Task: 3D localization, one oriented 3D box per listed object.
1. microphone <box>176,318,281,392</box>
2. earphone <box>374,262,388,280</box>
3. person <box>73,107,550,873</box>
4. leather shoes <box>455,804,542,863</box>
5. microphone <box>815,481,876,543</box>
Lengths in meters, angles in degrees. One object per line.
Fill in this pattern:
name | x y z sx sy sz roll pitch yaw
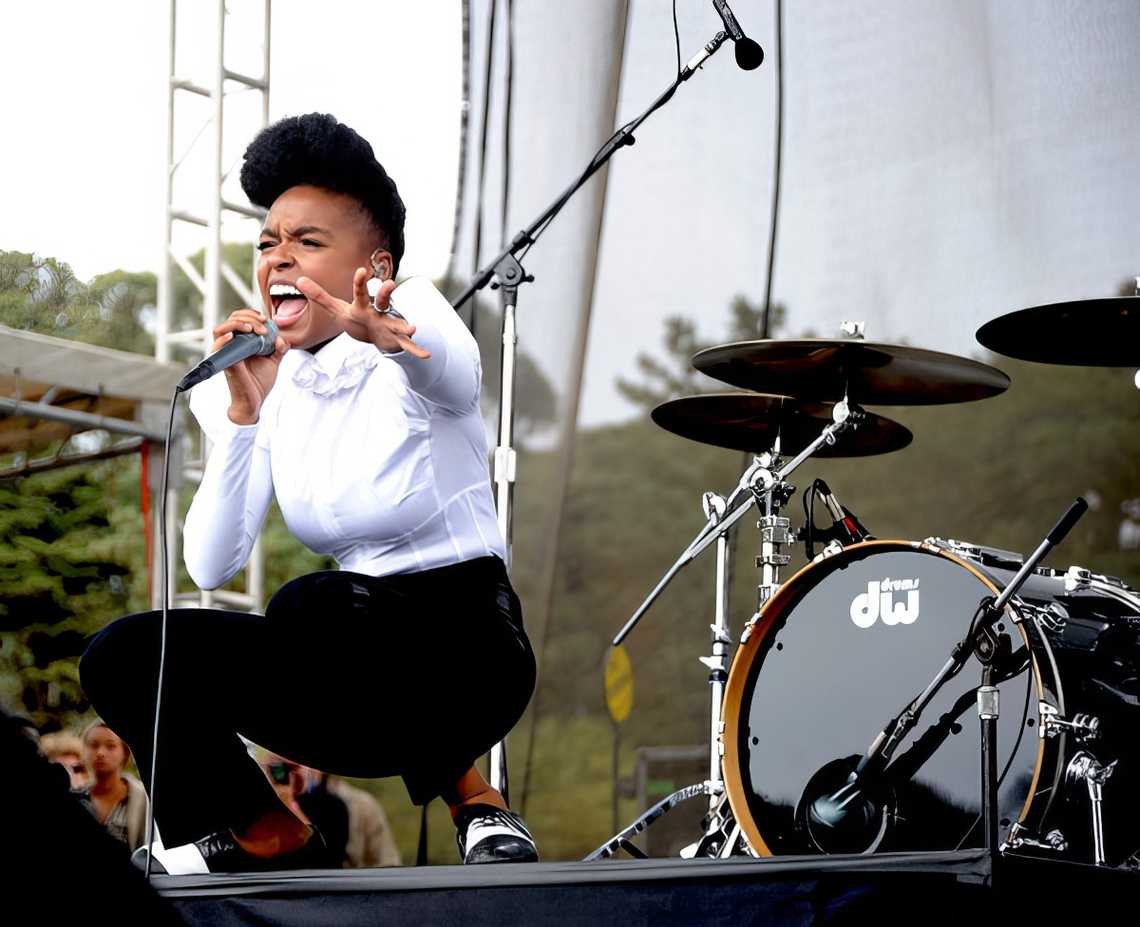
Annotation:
microphone | -1.261 -0.402 10.649 0.568 0.147 0.158 -36 8 -38
earphone | -0.722 -0.732 10.811 0.060 0.061 0.015 6 4 -10
person | -0.867 0.233 10.685 1.474 3.510 1.150 -1 -2 16
leather shoes | -0.277 1.378 10.601 0.297 0.181 0.253 1 5 -3
microphone | 1.177 0.210 12.392 0.071 0.252 0.091 -37 6 7
